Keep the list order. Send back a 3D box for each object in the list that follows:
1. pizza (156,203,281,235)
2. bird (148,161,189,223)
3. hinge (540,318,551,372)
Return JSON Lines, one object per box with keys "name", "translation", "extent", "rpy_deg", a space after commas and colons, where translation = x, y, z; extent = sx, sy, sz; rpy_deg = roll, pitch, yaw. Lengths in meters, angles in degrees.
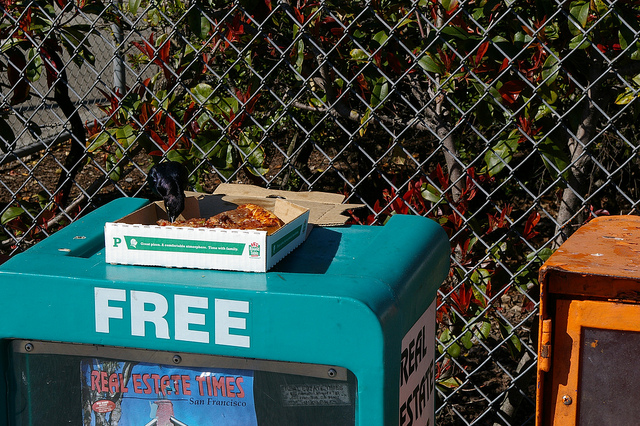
{"name": "pizza", "translation": [-0.432, 0.058, 4.961], "extent": [0.486, 0.083, 0.383], "rpy_deg": [-6, 20, -31]}
{"name": "bird", "translation": [-0.698, -0.120, 5.135], "extent": [0.146, 0.297, 0.179], "rpy_deg": [1, -21, -12]}
{"name": "hinge", "translation": [1.012, 0.591, 4.978], "extent": [0.050, 0.223, 0.076], "rpy_deg": [-1, -11, 10]}
